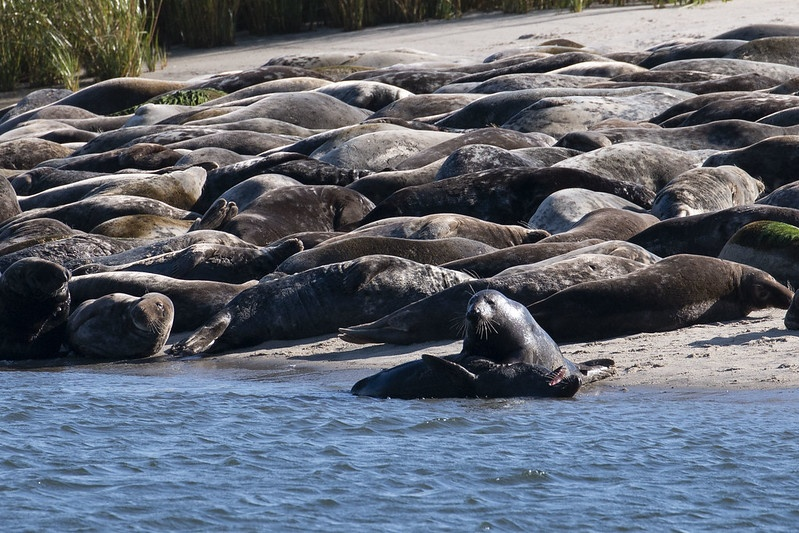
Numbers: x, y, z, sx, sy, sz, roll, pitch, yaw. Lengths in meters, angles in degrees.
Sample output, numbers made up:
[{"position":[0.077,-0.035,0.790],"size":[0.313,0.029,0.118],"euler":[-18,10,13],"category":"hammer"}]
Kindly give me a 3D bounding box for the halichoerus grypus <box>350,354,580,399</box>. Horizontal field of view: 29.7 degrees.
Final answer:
[{"position":[0.570,1.111,14.321],"size":[2.179,0.365,1.320],"euler":[-1,-2,11],"category":"halichoerus grypus"}]
